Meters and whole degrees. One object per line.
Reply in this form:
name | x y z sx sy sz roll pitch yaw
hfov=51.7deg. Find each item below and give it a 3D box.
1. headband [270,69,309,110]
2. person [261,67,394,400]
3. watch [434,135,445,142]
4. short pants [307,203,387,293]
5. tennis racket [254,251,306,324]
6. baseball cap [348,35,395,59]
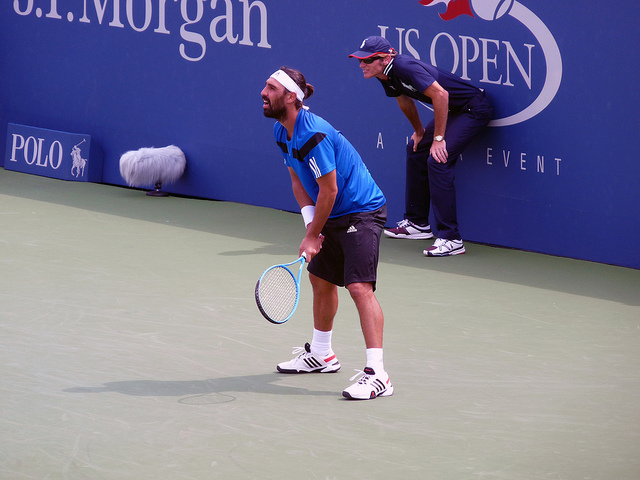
headband | -0.168 -0.819 3.646 0.192 0.208 0.129 0 13 -4
person | 0.057 -0.025 3.713 0.809 1.785 0.540 5 13 15
watch | 1.135 -0.957 6.318 0.086 0.065 0.038 1 13 -2
short pants | 0.143 0.054 3.740 0.443 0.454 0.290 2 13 2
tennis racket | -0.253 0.310 3.671 0.295 0.438 0.307 2 17 -31
baseball cap | 0.493 -1.792 6.212 0.354 0.146 0.239 -13 17 -15
